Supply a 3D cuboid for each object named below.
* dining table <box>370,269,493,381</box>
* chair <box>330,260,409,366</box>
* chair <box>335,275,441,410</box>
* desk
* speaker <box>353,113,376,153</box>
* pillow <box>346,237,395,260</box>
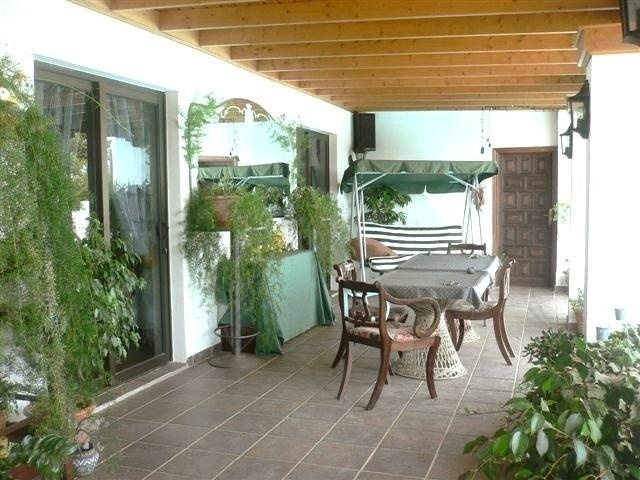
[{"bbox_3d":[1.231,0.840,4.938,0.953,0.752,1.351,-1,1,13],"label":"dining table"},{"bbox_3d":[0.565,0.853,5.051,0.573,1.023,0.727,6,8,35],"label":"chair"},{"bbox_3d":[0.576,0.814,4.807,1.053,1.520,1.051,-4,6,-35],"label":"chair"},{"bbox_3d":[-0.437,0.803,6.245,0.625,0.983,1.845,3,8,23],"label":"desk"},{"bbox_3d":[0.884,-2.187,9.558,0.446,0.812,0.247,0,5,2],"label":"speaker"},{"bbox_3d":[0.961,0.174,8.903,0.710,0.405,1.035,2,5,28],"label":"pillow"}]
